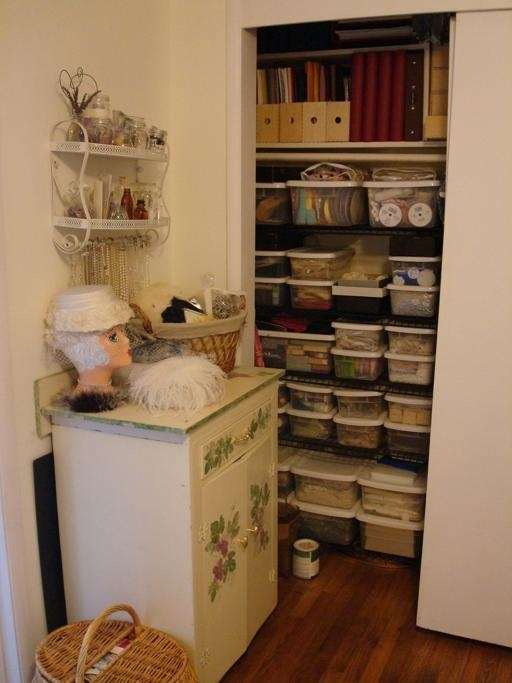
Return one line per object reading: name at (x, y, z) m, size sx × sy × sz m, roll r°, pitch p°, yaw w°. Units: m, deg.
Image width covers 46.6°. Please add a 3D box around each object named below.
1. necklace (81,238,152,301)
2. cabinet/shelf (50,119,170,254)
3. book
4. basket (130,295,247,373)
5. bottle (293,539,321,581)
necklace at (-0.374, -0.203, 1.683) m, size 0.043 × 0.153 × 0.163 m, roll 14°, pitch 23°, yaw 36°
cabinet/shelf at (-0.393, -0.410, 1.563) m, size 0.145 × 0.363 × 0.474 m, roll 2°, pitch 9°, yaw 13°
book at (0.358, -1.011, 2.463) m, size 0.706 × 0.413 × 0.295 m, roll 5°, pitch 10°, yaw 25°
basket at (-0.177, -0.002, 1.682) m, size 0.231 × 0.154 × 0.236 m, roll 15°, pitch 26°, yaw 42°
bottle at (0.193, 0.857, 2.353) m, size 0.127 × 0.125 × 0.122 m, roll 2°, pitch 18°, yaw 2°
